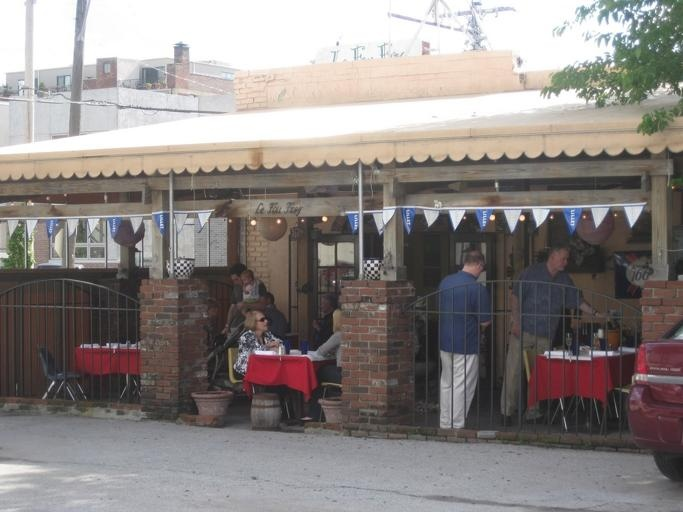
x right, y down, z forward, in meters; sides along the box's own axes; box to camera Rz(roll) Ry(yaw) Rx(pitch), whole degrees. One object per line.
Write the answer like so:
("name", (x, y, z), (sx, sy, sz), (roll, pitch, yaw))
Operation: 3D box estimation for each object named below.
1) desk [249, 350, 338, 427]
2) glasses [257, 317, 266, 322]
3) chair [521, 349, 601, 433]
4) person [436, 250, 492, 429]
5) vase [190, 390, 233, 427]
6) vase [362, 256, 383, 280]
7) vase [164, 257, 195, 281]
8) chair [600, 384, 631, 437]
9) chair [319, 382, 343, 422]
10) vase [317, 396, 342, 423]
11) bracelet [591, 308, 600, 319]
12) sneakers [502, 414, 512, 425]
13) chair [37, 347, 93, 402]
("desk", (-0.708, 2.000, 18.547), (1.271, 1.002, 1.217), (3, -6, -44))
("glasses", (-1.200, 1.001, 18.794), (0.106, 0.073, 0.066), (1, -4, -23))
("chair", (3.029, 1.818, 17.058), (1.010, 0.884, 1.033), (0, 2, 30))
("person", (1.721, 1.217, 17.621), (0.725, 2.513, 0.627), (-1, -3, 4))
("vase", (-1.949, 2.334, 18.558), (0.622, 0.507, 0.496), (-2, -4, 9))
("vase", (0.453, 0.227, 18.332), (0.263, 0.296, 0.262), (-2, 4, -25))
("vase", (-2.452, 0.230, 18.901), (0.288, 0.256, 0.335), (1, -7, -12))
("chair", (3.944, 2.281, 17.950), (0.625, 0.768, 0.649), (-2, -8, 23))
("chair", (-0.123, 2.203, 18.290), (0.458, 0.512, 0.488), (1, -4, -18))
("vase", (-0.161, 2.285, 18.021), (0.315, 0.273, 0.330), (3, -5, -25))
("bracelet", (3.601, 0.857, 17.725), (0.099, 0.117, 0.296), (1, 16, 5))
("sneakers", (2.371, 2.408, 17.824), (0.146, 0.158, 0.144), (2, -5, -19))
("chair", (-4.595, 1.963, 20.235), (0.777, 1.211, 0.817), (-5, -4, 6))
